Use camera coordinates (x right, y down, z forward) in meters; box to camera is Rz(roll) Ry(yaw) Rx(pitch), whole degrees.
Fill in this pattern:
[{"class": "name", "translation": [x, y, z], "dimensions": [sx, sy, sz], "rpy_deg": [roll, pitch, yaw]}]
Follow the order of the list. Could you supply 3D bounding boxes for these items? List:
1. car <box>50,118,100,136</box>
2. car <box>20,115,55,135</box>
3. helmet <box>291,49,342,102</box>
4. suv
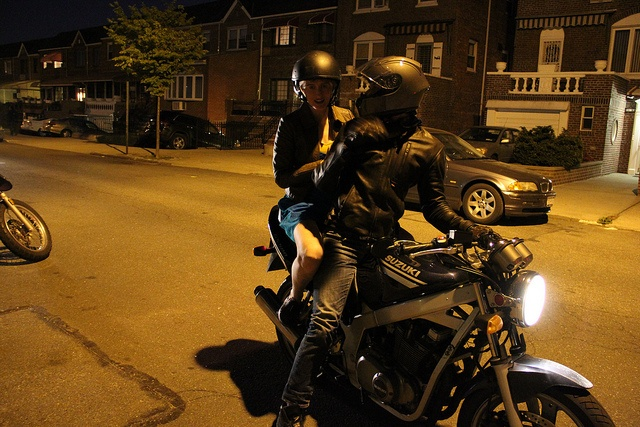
[{"class": "car", "translation": [-18.485, -6.570, 35.321], "dimensions": [3.762, 1.354, 1.214], "rpy_deg": [3, 14, 5]}, {"class": "car", "translation": [-21.379, -6.820, 35.765], "dimensions": [2.152, 0.971, 1.527], "rpy_deg": [12, 34, 20]}, {"class": "helmet", "translation": [-0.026, -1.312, 4.404], "dimensions": [0.389, 0.471, 0.494], "rpy_deg": [0, 14, 0]}, {"class": "suv", "translation": [-8.458, -5.064, 28.485], "dimensions": [4.834, 1.934, 2.194], "rpy_deg": [-8, 13, -43]}]
